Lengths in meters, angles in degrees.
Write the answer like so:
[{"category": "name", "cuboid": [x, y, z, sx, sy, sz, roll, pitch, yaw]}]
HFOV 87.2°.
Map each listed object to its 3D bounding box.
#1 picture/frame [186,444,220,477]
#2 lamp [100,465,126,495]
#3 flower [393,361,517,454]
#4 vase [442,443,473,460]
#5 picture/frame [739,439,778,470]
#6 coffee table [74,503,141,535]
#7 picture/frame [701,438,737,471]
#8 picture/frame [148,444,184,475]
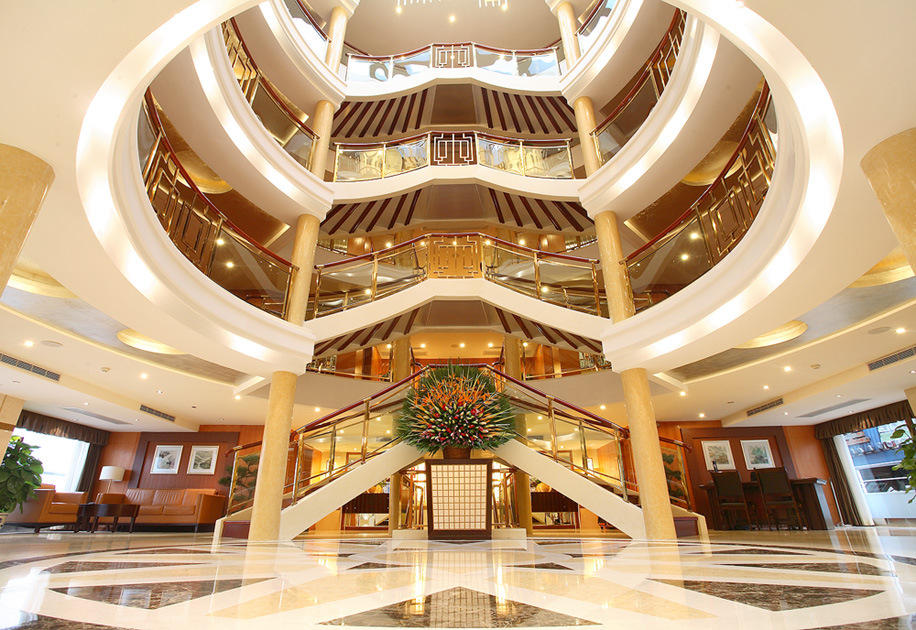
[{"category": "picture/frame", "cuboid": [-5.449, 3.123, 10.334, 0.773, 0.746, 0.060, 1, -28, -6]}, {"category": "lamp", "cuboid": [-7.233, 3.459, 10.102, 0.348, 0.496, 0.325, 22, -59, -30]}, {"category": "flower", "cuboid": [0.073, 1.049, 6.609, 1.273, 0.784, 1.266, 0, -7, -31]}, {"category": "vase", "cuboid": [-0.004, 1.691, 5.906, 0.357, 0.212, 0.308, 1, -29, -2]}, {"category": "picture/frame", "cuboid": [6.233, 2.907, 10.023, 0.851, 0.740, 0.057, 2, -26, -8]}, {"category": "coffee table", "cuboid": [-6.345, 3.675, 8.735, 0.911, 0.494, 1.527, 16, -32, -27]}, {"category": "picture/frame", "cuboid": [5.405, 2.906, 10.023, 0.749, 0.650, 0.025, 3, -28, -6]}, {"category": "picture/frame", "cuboid": [-6.270, 3.123, 10.385, 0.777, 0.703, 0.039, 1, -28, -4]}]
